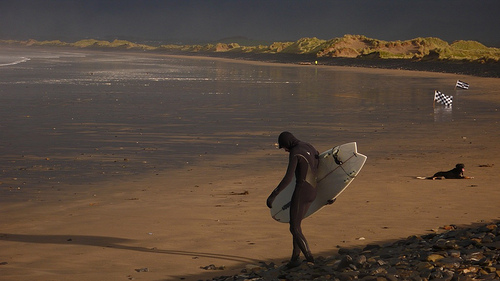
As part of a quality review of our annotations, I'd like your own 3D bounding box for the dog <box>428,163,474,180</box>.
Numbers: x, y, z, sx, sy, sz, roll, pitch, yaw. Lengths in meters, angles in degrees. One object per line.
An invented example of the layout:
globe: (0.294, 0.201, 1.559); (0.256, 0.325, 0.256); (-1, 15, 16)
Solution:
dog: (7.198, 1.135, 23.581); (1.557, 0.521, 0.379); (0, 5, -5)
